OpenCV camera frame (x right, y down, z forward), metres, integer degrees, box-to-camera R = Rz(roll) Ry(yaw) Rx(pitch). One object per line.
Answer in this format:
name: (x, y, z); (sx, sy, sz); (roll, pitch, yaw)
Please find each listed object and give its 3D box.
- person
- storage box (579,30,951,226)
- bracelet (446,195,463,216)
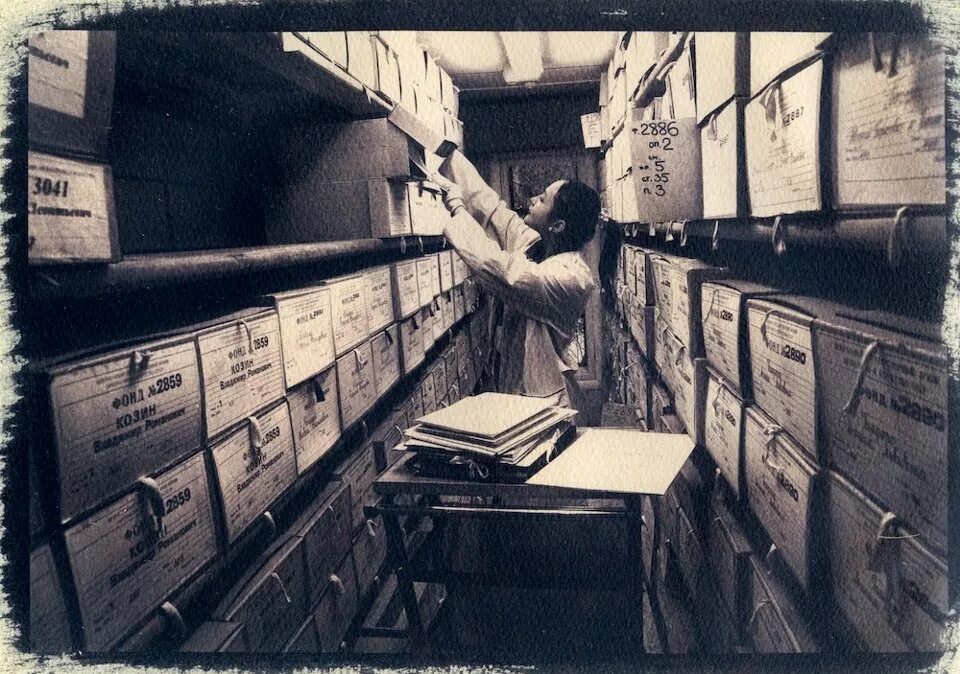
person: (0.128, 0.043, 1.908); (0.391, 0.340, 1.163); (20, -48, 27)
storage box: (0.620, -0.463, 1.394); (0.130, 0.309, 0.434); (-4, 5, -38)
bracelet: (-0.062, -0.334, 1.637); (0.037, 0.041, 0.036); (2, -6, 6)
